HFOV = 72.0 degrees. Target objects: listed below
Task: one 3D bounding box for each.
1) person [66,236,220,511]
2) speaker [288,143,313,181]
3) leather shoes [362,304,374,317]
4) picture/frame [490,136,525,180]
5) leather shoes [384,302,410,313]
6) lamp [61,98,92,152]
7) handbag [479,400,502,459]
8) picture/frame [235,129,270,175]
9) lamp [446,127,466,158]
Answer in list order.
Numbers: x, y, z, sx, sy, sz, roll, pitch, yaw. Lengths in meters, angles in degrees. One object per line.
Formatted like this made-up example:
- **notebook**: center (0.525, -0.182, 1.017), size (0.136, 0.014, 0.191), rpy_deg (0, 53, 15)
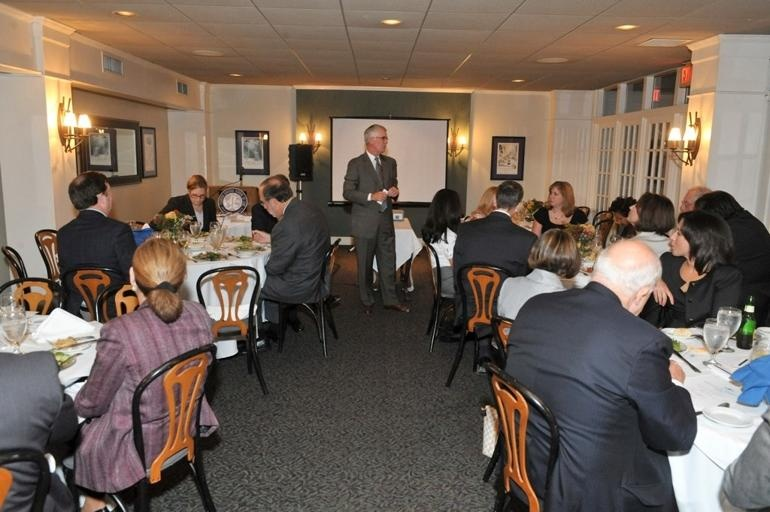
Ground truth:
- **person**: center (-1.272, 0.672, 2.760), size (0.736, 1.499, 0.399), rpy_deg (-6, 12, -22)
- **speaker**: center (-1.434, -1.584, 8.977), size (0.402, 0.623, 0.298), rpy_deg (-4, 12, -16)
- **leather shoes**: center (-0.211, 0.625, 6.081), size (0.110, 0.092, 0.122), rpy_deg (0, 0, 0)
- **picture/frame**: center (2.281, -1.880, 9.889), size (0.792, 1.059, 0.040), rpy_deg (-1, 7, -6)
- **leather shoes**: center (0.115, 0.610, 6.261), size (0.323, 0.136, 0.112), rpy_deg (-4, 3, 16)
- **lamp**: center (-3.584, -1.502, 6.111), size (0.297, 0.604, 0.693), rpy_deg (-6, 12, -25)
- **handbag**: center (0.674, 1.122, 3.369), size (0.099, 0.429, 0.234), rpy_deg (4, 0, -11)
- **picture/frame**: center (-2.461, -1.961, 9.758), size (0.774, 1.041, 0.072), rpy_deg (0, 6, -5)
- **lamp**: center (1.315, -2.160, 9.910), size (0.525, 0.557, 0.163), rpy_deg (-1, 7, -5)
